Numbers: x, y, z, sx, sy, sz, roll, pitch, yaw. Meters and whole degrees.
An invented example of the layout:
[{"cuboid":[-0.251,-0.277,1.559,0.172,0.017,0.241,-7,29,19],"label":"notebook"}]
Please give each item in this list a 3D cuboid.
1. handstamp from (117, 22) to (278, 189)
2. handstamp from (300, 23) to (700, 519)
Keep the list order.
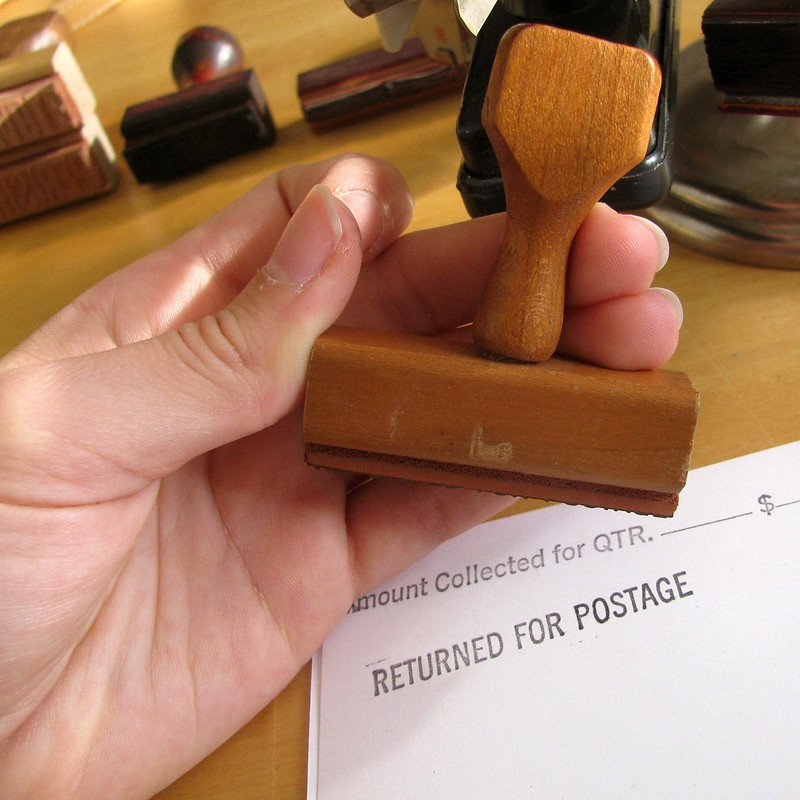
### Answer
[{"cuboid":[-0.208,-0.296,0.883,0.145,0.145,0.083,-10,10,17],"label":"handstamp"},{"cuboid":[0.059,-0.069,0.486,0.220,0.200,0.183,4,55,13],"label":"handstamp"}]
